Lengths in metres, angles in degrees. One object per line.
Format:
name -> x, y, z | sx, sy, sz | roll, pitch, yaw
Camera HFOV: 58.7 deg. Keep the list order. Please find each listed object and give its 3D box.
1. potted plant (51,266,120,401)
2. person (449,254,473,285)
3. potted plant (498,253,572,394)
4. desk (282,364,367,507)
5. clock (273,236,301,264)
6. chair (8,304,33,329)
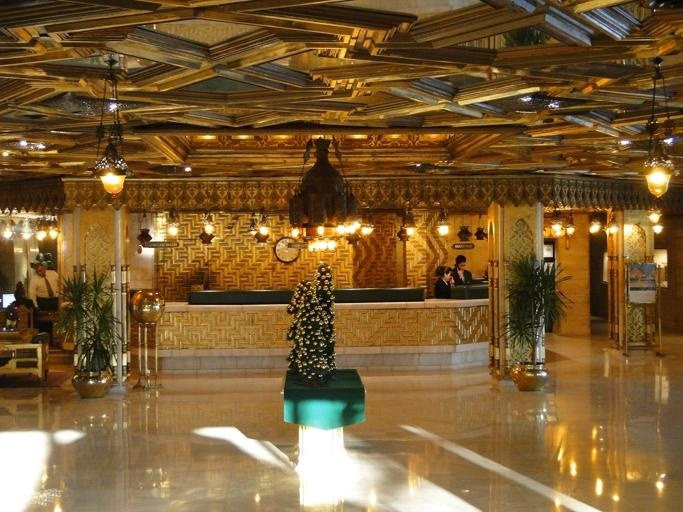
potted plant -> -4.972, 1.453, 11.998 | 0.980, 2.287, 1.909 | -1, 2, -20
person -> 3.128, 0.372, 15.810 | 0.455, 0.728, 0.653 | 0, 2, 15
potted plant -> 3.800, 1.284, 11.996 | 1.050, 2.554, 1.126 | 0, 2, 11
desk -> -0.198, 2.147, 7.656 | 1.025, 1.187, 1.726 | -1, 2, -5
clock -> -1.481, -0.158, 17.050 | 0.959, 0.772, 0.194 | 7, 0, -13
chair -> -7.114, 1.375, 13.495 | 0.503, 0.596, 1.724 | -2, 2, -28
